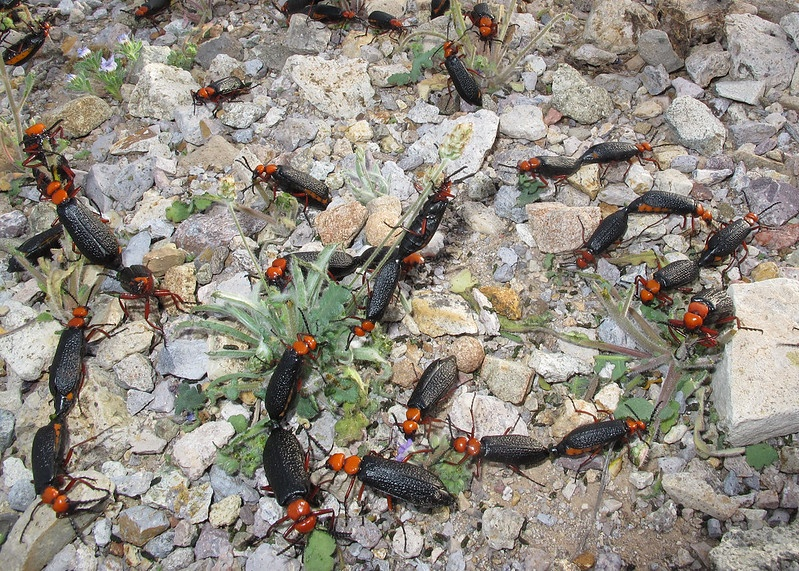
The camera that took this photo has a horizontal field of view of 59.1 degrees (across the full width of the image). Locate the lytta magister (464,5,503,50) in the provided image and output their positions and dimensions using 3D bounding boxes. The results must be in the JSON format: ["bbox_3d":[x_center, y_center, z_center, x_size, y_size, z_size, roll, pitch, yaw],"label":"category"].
[{"bbox_3d":[0.803,-2.539,6.871,0.270,0.116,0.402,-15,87,-44],"label":"lytta magister"}]

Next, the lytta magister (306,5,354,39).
[{"bbox_3d":[-0.723,-2.817,7.466,0.338,0.102,0.283,13,76,-10],"label":"lytta magister"}]

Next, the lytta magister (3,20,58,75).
[{"bbox_3d":[-3.923,-2.526,7.450,0.601,0.468,0.230,-29,64,-10],"label":"lytta magister"}]

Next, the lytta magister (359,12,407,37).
[{"bbox_3d":[-0.134,-2.700,7.316,0.302,0.103,0.261,17,96,6],"label":"lytta magister"}]
